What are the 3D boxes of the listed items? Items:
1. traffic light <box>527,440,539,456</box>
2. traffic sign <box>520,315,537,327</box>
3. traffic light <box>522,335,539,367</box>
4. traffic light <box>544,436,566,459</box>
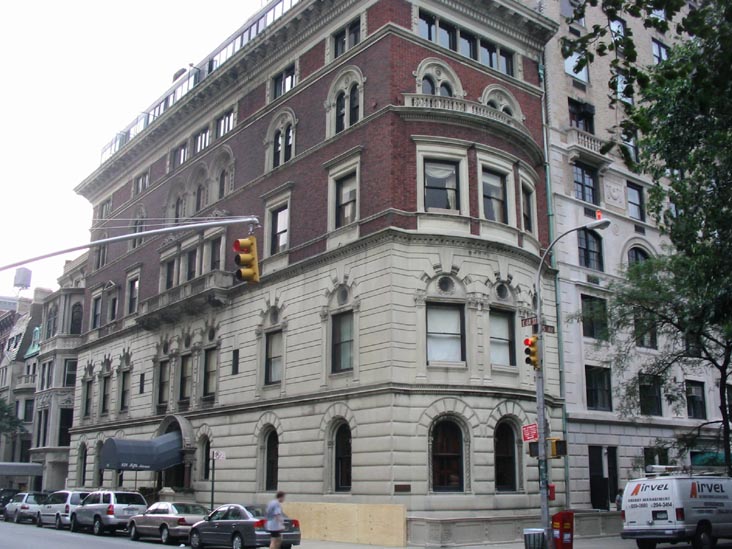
[{"bbox_3d":[6.314,6.693,31.292,0.482,0.746,0.490,0,-22,0],"label":"traffic light"},{"bbox_3d":[6.608,1.944,33.662,0.107,0.477,0.739,15,-14,-18],"label":"traffic sign"},{"bbox_3d":[6.251,2.842,31.260,0.421,1.213,0.929,-8,-23,19],"label":"traffic light"},{"bbox_3d":[7.174,6.574,31.075,0.667,0.724,0.451,8,-23,-19],"label":"traffic light"}]
